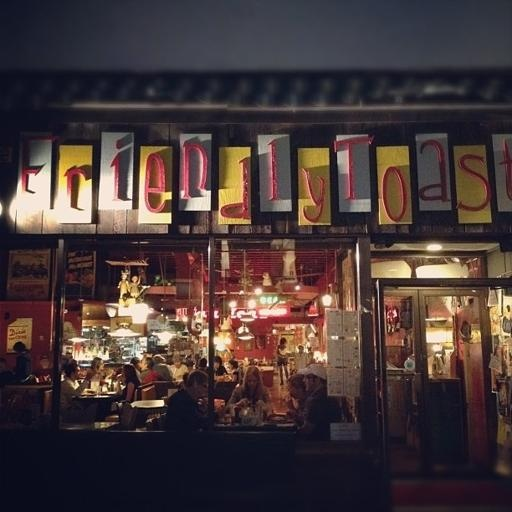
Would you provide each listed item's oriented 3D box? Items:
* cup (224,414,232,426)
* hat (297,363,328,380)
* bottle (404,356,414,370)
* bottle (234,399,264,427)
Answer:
[{"bbox_3d":[-0.322,1.851,7.066,0.097,0.107,0.217,1,-11,-4],"label":"cup"},{"bbox_3d":[0.707,1.398,7.627,0.257,0.109,0.172,5,-6,31],"label":"hat"},{"bbox_3d":[1.982,1.391,8.106,0.143,0.232,0.087,0,-3,-7],"label":"bottle"},{"bbox_3d":[-0.080,1.806,7.133,0.304,0.476,0.173,0,-6,-5],"label":"bottle"}]
